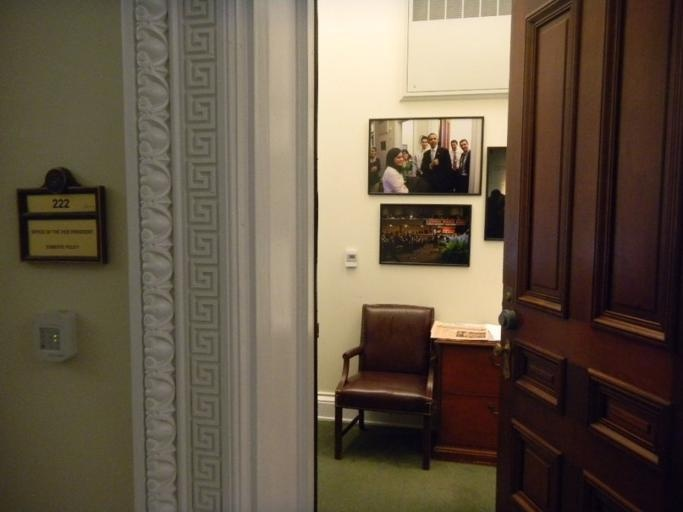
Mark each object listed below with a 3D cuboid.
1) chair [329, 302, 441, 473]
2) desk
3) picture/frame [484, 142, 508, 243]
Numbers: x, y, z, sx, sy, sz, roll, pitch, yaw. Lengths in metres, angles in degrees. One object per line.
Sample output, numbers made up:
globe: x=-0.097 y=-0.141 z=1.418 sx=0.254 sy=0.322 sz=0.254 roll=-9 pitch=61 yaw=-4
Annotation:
chair: x=0.301 y=0.831 z=4.237 sx=0.630 sy=0.870 sz=0.712 roll=2 pitch=10 yaw=9
desk: x=0.908 y=0.950 z=4.179 sx=0.568 sy=0.747 sz=0.588 roll=3 pitch=-10 yaw=6
picture/frame: x=1.051 y=-0.425 z=4.346 sx=0.124 sy=0.637 sz=0.118 roll=2 pitch=10 yaw=9
